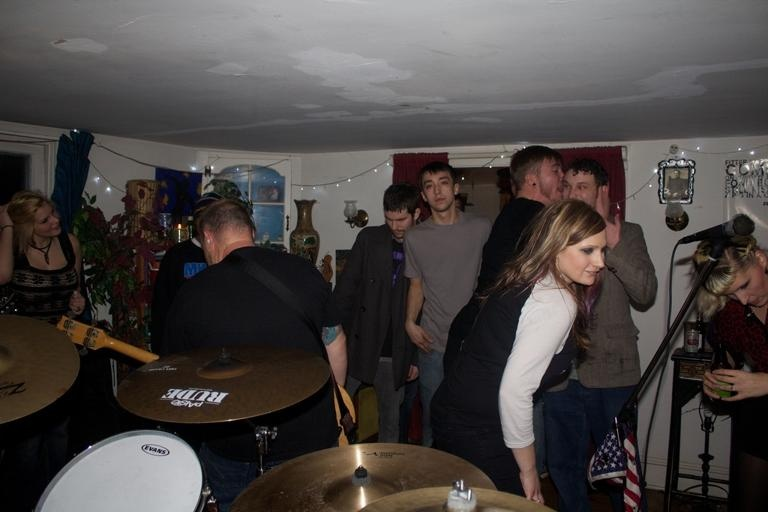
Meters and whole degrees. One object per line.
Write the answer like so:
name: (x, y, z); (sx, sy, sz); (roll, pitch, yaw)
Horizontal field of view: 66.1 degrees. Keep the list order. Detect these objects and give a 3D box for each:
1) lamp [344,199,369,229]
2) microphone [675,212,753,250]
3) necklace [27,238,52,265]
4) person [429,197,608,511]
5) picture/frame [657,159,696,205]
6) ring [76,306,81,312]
lamp: (-0.306, -0.450, 6.409); (0.281, 0.380, 0.304); (0, 1, 27)
microphone: (1.828, -0.127, 3.399); (0.163, 0.154, 0.565); (11, -15, -14)
necklace: (-2.702, -0.030, 4.663); (0.102, 0.181, 0.027); (-19, 5, -24)
person: (0.730, 0.503, 3.182); (0.866, 1.601, 0.402); (-1, 6, -10)
picture/frame: (2.723, -0.680, 5.444); (0.418, 0.555, 0.057); (2, -3, 16)
ring: (-2.449, 0.430, 4.714); (0.030, 0.022, 0.029); (-11, 22, 5)
